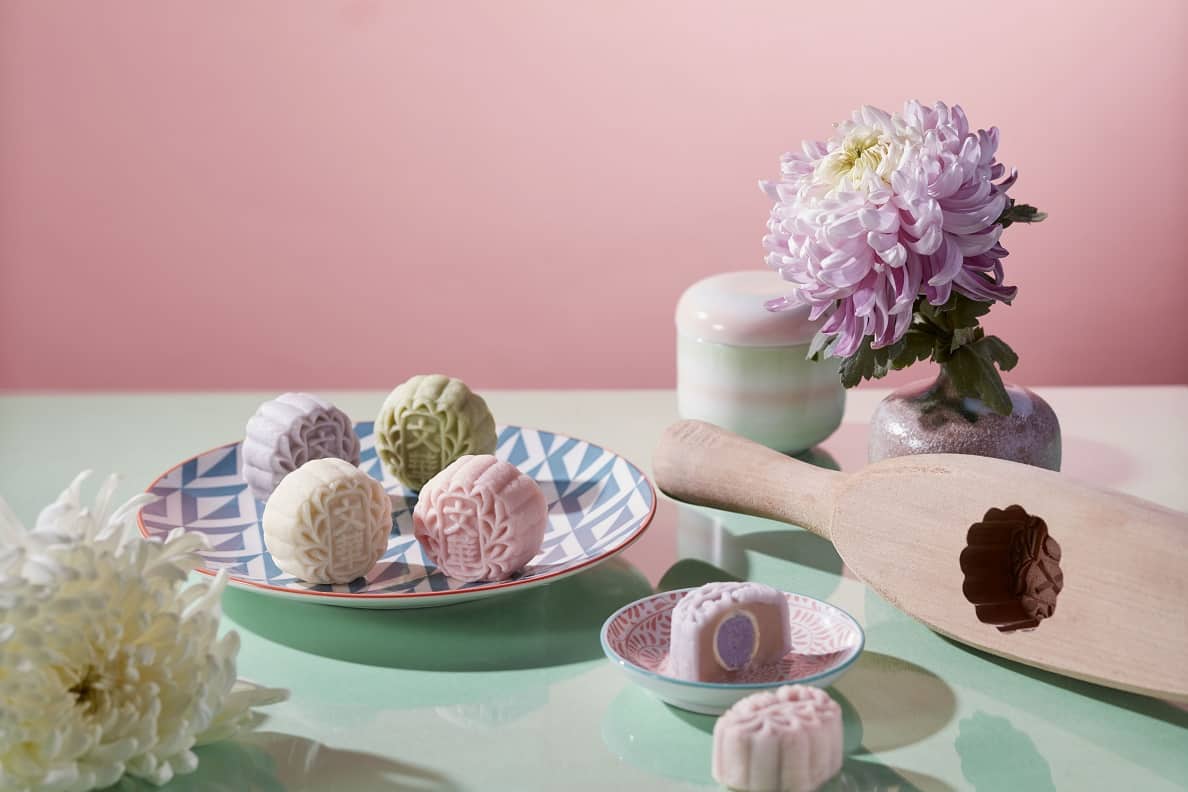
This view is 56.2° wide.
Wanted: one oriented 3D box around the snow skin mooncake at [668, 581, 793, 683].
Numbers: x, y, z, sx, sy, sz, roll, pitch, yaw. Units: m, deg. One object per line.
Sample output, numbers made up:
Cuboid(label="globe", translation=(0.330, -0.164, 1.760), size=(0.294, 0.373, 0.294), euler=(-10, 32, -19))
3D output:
Cuboid(label="snow skin mooncake", translation=(0.094, 0.155, 0.788), size=(0.097, 0.063, 0.057), euler=(-9, 5, -30))

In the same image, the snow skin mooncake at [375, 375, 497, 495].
Cuboid(label="snow skin mooncake", translation=(-0.151, 0.037, 1.021), size=(0.109, 0.115, 0.058), euler=(6, 23, 3))

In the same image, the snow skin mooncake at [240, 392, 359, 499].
Cuboid(label="snow skin mooncake", translation=(-0.265, 0.038, 1.031), size=(0.068, 0.096, 0.098), euler=(-12, 14, -42))
